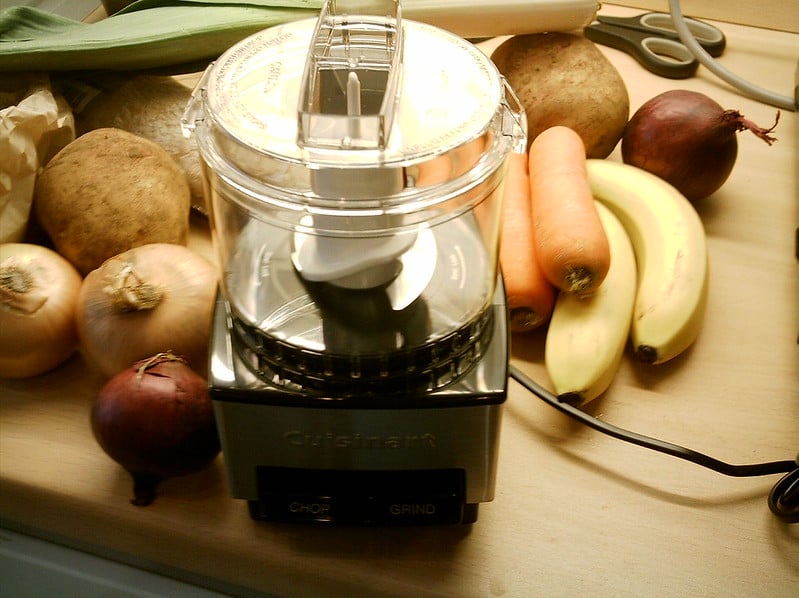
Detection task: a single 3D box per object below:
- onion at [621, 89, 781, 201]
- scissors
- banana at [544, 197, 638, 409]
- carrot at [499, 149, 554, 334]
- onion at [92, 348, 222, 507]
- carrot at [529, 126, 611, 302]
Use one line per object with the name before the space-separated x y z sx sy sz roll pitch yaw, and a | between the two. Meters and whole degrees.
onion | 0.368 -0.185 0.847 0.121 0.167 0.110 27 64 -24
scissors | 0.379 -0.396 1.060 0.214 0.020 0.106 23 62 29
banana | 0.202 -0.001 0.755 0.082 0.075 0.233 20 55 9
carrot | 0.119 -0.063 0.748 0.066 0.058 0.215 4 62 -4
onion | -0.211 0.113 0.687 0.145 0.133 0.146 4 94 8
carrot | 0.189 -0.108 0.787 0.083 0.078 0.249 -20 38 23
